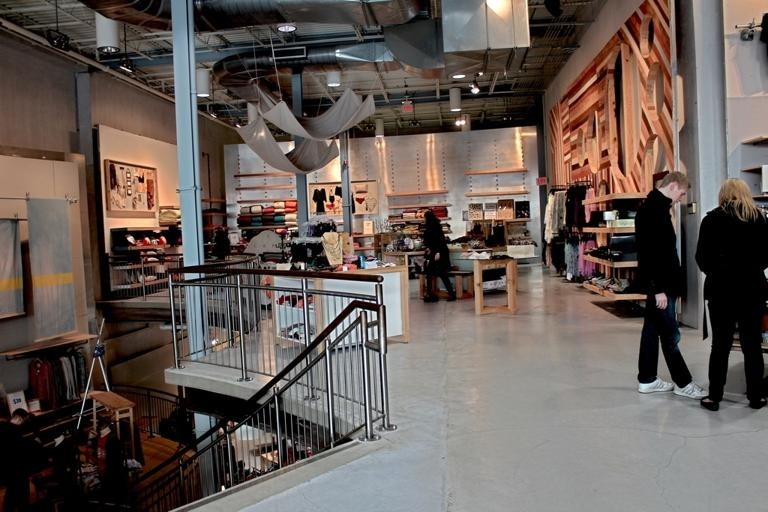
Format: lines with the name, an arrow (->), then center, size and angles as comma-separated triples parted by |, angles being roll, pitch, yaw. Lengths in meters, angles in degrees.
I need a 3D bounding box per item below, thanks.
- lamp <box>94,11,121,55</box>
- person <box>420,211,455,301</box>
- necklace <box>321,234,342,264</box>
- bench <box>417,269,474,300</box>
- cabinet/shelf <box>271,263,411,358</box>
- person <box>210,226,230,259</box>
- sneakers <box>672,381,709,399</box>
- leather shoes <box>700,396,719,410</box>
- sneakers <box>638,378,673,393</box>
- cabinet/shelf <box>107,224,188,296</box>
lamp -> -4.919, -3.979, 10.494 | 0.383, 0.556, 0.864 | -6, 7, -24
person -> 1.075, -0.003, 11.845 | 0.605, 1.825, 0.742 | -3, 7, 4
necklace -> -0.761, -0.114, 8.798 | 0.299, 0.434, 0.096 | -9, -2, -14
bench -> 1.490, 0.613, 12.493 | 0.817, 0.461, 0.797 | -2, -2, 26
cabinet/shelf -> -0.613, 0.804, 8.343 | 1.955, 1.132, 1.731 | -3, 6, 0
person -> -4.329, -0.358, 15.593 | 0.421, 0.770, 1.784 | -5, 7, -17
sneakers -> 3.355, 1.489, 6.491 | 0.367, 0.129, 0.144 | -2, 2, 14
leather shoes -> 3.440, 1.562, 6.269 | 0.106, 0.107, 0.176 | -4, 8, -27
sneakers -> 3.039, 1.468, 6.664 | 0.393, 0.136, 0.141 | -2, 1, -4
cabinet/shelf -> -5.478, 0.131, 13.403 | 0.732, 1.425, 1.834 | -1, 1, 22
